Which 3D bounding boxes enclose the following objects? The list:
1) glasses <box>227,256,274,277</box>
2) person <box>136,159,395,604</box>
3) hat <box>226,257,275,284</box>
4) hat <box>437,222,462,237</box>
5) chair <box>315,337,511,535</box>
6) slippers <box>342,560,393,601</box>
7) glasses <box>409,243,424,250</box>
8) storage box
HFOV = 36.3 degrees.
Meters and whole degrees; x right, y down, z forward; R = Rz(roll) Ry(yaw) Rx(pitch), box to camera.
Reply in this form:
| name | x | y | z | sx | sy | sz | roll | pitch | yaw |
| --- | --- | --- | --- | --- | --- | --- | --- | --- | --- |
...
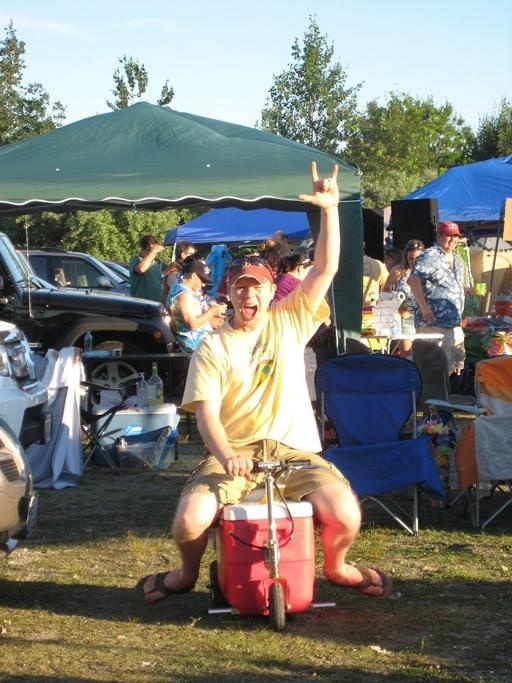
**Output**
| name | x | y | z | sx | sy | sz | roll | pitch | yaw |
| --- | --- | --- | --- | --- | --- | --- | --- | --- | --- |
| glasses | -0.024 | -0.306 | 3.172 | 0.127 | 0.114 | 0.031 | -1 | 35 | 7 |
| person | 0.117 | 0.154 | 3.079 | 1.264 | 1.713 | 1.012 | 1 | 10 | -6 |
| hat | -0.025 | -0.279 | 3.193 | 0.135 | 0.140 | 0.073 | -2 | 52 | 6 |
| hat | 1.760 | -1.010 | 7.074 | 0.165 | 0.102 | 0.209 | 2 | 7 | -12 |
| chair | 0.698 | 0.500 | 4.879 | 1.352 | 1.349 | 1.052 | 0 | -17 | -7 |
| slippers | 0.505 | 1.043 | 3.371 | 0.323 | 0.156 | 0.150 | 11 | -29 | -24 |
| glasses | 1.826 | -1.075 | 8.870 | 0.099 | 0.094 | 0.121 | -27 | 2 | -17 |
| storage box | -0.957 | 0.756 | 6.467 | 0.593 | 0.354 | 0.538 | 0 | 0 | -20 |
